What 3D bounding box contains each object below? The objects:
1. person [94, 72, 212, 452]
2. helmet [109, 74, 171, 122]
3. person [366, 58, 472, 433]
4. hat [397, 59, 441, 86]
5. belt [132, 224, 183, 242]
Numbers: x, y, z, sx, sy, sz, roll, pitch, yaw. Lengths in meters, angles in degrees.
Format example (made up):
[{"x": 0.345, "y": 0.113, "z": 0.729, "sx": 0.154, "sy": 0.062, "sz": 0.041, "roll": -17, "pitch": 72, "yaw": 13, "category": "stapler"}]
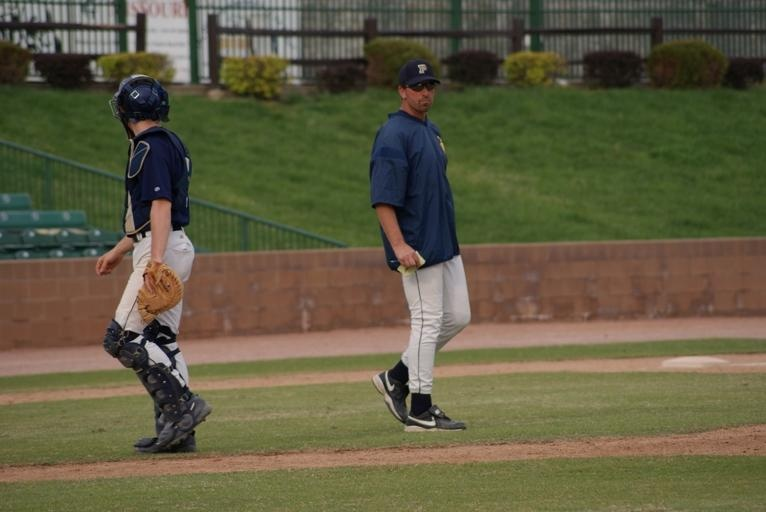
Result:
[{"x": -2.583, "y": 0.063, "z": 24.058, "sx": 1.134, "sy": 4.152, "sz": 0.874, "roll": -2, "pitch": 8, "yaw": -6, "category": "person"}, {"x": -2.737, "y": -1.809, "z": 24.152, "sx": 0.486, "sy": 0.592, "sz": 0.592, "roll": -5, "pitch": 17, "yaw": -36, "category": "helmet"}, {"x": 0.378, "y": -0.150, "z": 24.345, "sx": 1.097, "sy": 4.106, "sz": 0.899, "roll": -1, "pitch": 8, "yaw": 0, "category": "person"}, {"x": 0.371, "y": -2.077, "z": 24.339, "sx": 0.288, "sy": 0.197, "sz": 0.388, "roll": -8, "pitch": 8, "yaw": -38, "category": "hat"}, {"x": -2.615, "y": -0.280, "z": 23.981, "sx": 0.316, "sy": 0.109, "sz": 0.294, "roll": -9, "pitch": -1, "yaw": 20, "category": "belt"}]
